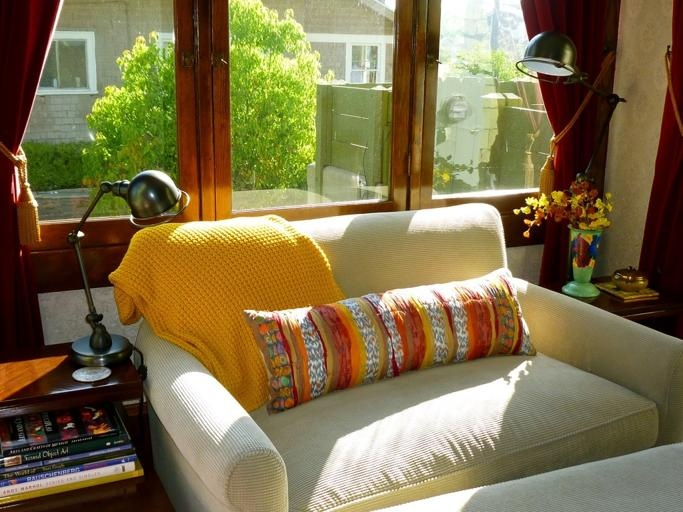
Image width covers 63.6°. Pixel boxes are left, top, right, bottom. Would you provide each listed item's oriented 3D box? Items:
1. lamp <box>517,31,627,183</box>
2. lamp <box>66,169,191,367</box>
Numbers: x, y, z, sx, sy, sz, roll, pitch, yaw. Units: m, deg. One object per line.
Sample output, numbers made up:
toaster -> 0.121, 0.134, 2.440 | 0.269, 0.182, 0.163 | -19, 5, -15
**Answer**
lamp -> 1.178, -0.737, 2.796 | 0.434, 0.672, 0.893 | 1, 8, 27
lamp -> -0.787, 0.019, 2.057 | 0.447, 0.649, 0.673 | -5, 8, -18
